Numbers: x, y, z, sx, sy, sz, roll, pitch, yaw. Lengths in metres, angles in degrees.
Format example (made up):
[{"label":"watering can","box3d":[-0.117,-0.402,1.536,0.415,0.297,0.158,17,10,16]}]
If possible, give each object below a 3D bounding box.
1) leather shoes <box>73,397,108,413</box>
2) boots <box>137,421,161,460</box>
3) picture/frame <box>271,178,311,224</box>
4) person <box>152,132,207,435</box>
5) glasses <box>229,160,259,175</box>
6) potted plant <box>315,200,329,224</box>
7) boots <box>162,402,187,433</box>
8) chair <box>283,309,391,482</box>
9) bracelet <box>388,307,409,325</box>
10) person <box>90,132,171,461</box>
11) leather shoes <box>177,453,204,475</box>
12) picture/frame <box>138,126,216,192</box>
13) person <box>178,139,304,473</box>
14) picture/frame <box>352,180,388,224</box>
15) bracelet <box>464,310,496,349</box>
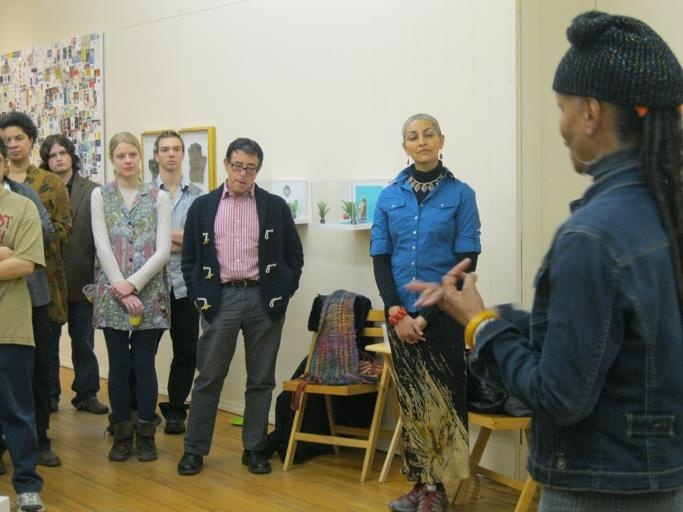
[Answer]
[{"label":"leather shoes","box3d":[-2.076,1.219,5.317,0.302,0.132,0.112,1,-4,10]},{"label":"boots","box3d":[-1.311,1.228,4.298,0.123,0.232,0.346,3,4,-20]},{"label":"picture/frame","box3d":[-0.352,-0.390,4.580,0.360,0.415,0.054,1,1,17]},{"label":"person","box3d":[-1.313,0.226,4.939,0.636,2.203,0.605,-1,14,-12]},{"label":"glasses","box3d":[-0.619,-0.563,4.067,0.179,0.087,0.083,-1,7,-12]},{"label":"potted plant","box3d":[-0.127,-0.310,4.340,0.125,0.168,0.127,1,0,-1]},{"label":"boots","box3d":[-1.287,1.210,4.925,0.122,0.247,0.388,10,-11,-17]},{"label":"chair","box3d":[0.056,0.842,4.304,0.632,1.041,0.673,1,0,23]},{"label":"bracelet","box3d":[0.293,0.307,3.409,0.036,0.099,0.093,21,-32,-31]},{"label":"person","box3d":[-1.397,0.255,4.282,0.512,2.160,0.500,-2,6,-18]},{"label":"leather shoes","box3d":[-0.967,1.311,4.038,0.084,0.083,0.188,0,-11,2]},{"label":"picture/frame","box3d":[-1.423,-0.798,5.491,0.754,0.590,0.027,0,2,23]},{"label":"person","box3d":[-0.649,0.307,4.112,0.791,2.117,0.409,0,6,-4]},{"label":"picture/frame","box3d":[0.198,-0.341,4.169,0.294,0.297,0.008,2,8,29]},{"label":"bracelet","box3d":[0.391,0.188,1.713,0.023,0.092,0.096,21,1,-19]}]
